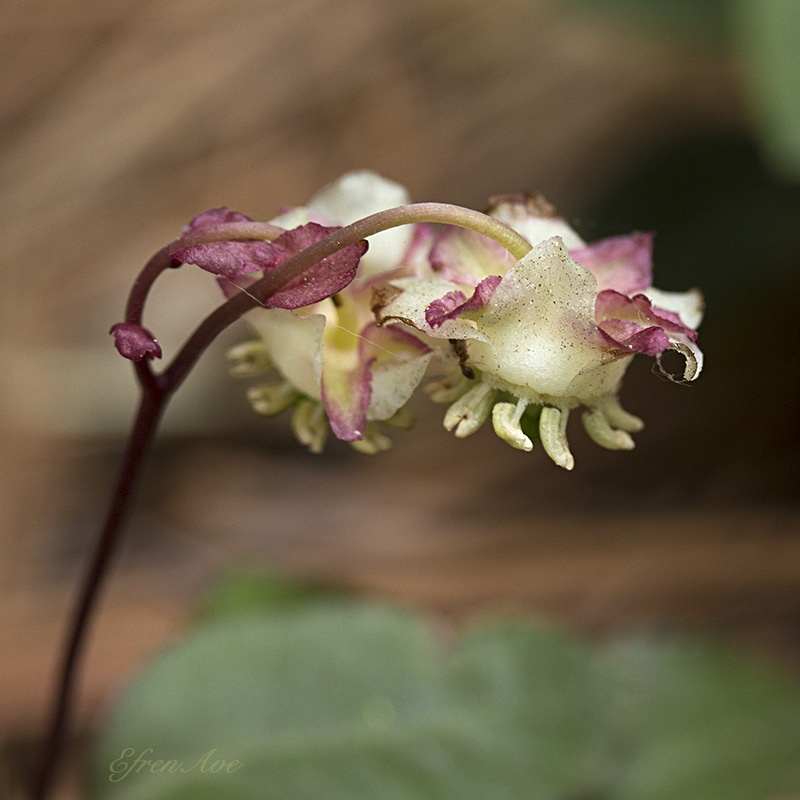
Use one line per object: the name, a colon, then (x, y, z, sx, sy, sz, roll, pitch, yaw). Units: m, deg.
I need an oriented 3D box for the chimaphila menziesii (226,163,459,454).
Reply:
chimaphila menziesii: (-0.020, -0.043, 0.571, 0.168, 0.064, 0.114, 0, 71, 9)
